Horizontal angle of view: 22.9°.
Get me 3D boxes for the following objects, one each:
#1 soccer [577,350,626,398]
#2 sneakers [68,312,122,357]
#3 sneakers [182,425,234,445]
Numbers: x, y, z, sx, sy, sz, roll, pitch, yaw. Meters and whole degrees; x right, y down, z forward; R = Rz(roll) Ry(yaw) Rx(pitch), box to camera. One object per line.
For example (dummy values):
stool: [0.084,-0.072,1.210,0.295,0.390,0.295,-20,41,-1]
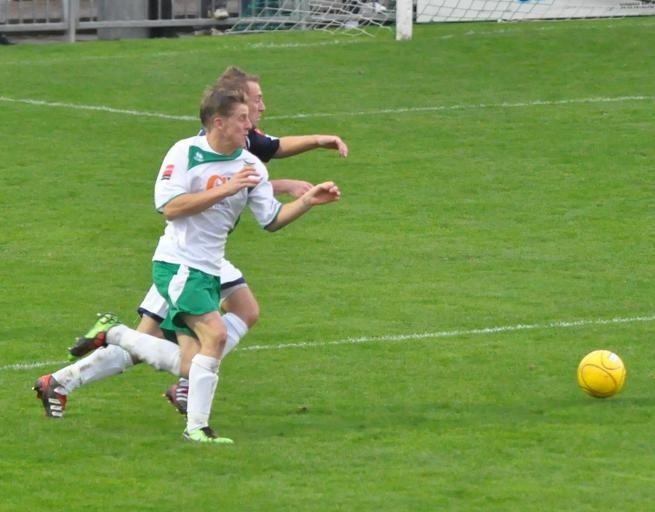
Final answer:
soccer: [2.630,1.141,15.603,0.447,0.430,0.243,3,9,7]
sneakers: [-2.205,0.759,15.012,0.246,0.527,0.171,45,10,-9]
sneakers: [-1.084,1.627,14.722,0.519,0.158,0.149,1,-1,7]
